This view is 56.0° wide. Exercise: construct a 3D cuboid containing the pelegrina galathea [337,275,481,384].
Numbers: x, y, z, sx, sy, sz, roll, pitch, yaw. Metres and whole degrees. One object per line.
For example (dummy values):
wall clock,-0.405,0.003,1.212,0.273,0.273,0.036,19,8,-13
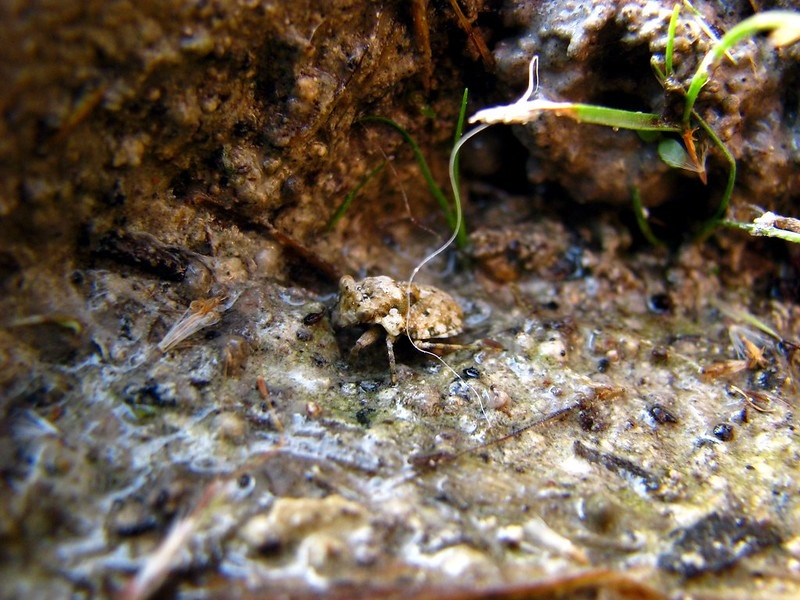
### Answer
pelegrina galathea,0.012,0.090,3.400,0.581,0.297,0.447,-16,62,-3
